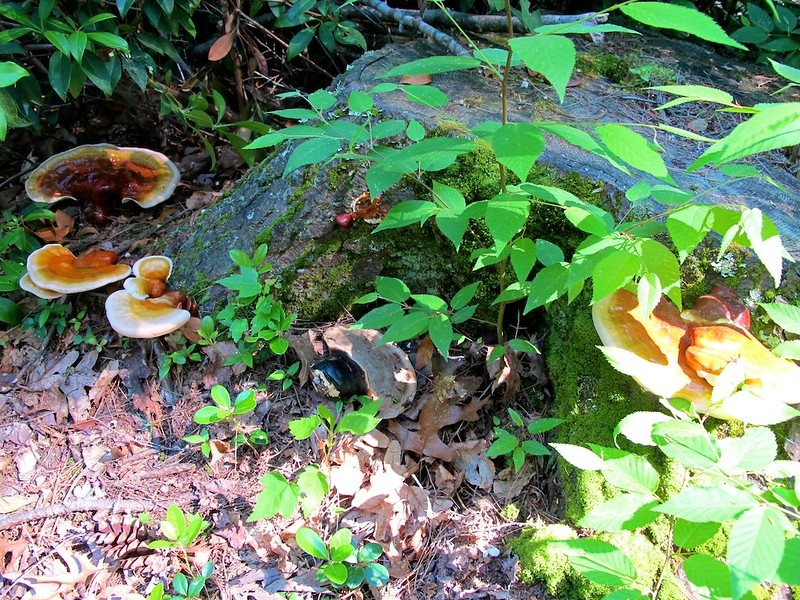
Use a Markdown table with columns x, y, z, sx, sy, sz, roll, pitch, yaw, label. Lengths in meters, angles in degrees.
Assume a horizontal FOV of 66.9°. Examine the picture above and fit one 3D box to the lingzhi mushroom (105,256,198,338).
| x | y | z | sx | sy | sz | roll | pitch | yaw | label |
| --- | --- | --- | --- | --- | --- | --- | --- | --- | --- |
| -1.628 | 0.024 | 4.024 | 0.382 | 0.142 | 0.500 | 7 | 19 | 0 | lingzhi mushroom |
